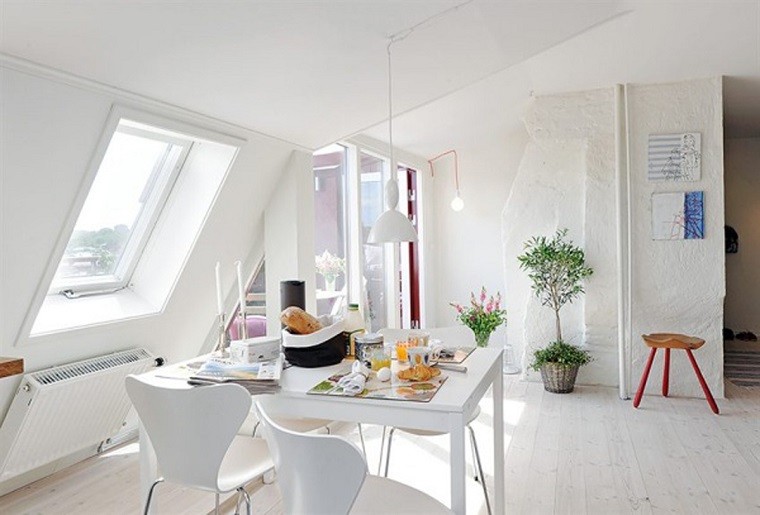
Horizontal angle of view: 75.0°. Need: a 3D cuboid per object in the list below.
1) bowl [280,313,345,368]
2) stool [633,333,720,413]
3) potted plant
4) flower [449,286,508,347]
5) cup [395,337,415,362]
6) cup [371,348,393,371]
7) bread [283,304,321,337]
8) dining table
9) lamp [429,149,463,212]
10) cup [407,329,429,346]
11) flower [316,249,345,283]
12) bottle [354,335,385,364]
[{"bbox_3d":[-0.391,0.504,2.958,0.283,0.225,0.371,1,14,19],"label":"bowl"},{"bbox_3d":[2.652,1.056,4.719,0.712,0.778,0.662,-4,1,-2],"label":"stool"},{"bbox_3d":[1.761,0.519,5.040,0.768,1.596,0.564,4,11,23],"label":"potted plant"},{"bbox_3d":[1.126,0.733,5.513,0.576,0.521,0.548,-2,3,40],"label":"flower"},{"bbox_3d":[0.133,0.544,2.937,0.117,0.124,0.112,1,2,0],"label":"cup"},{"bbox_3d":[0.011,0.563,2.770,0.105,0.108,0.111,0,-6,0],"label":"cup"},{"bbox_3d":[-0.465,0.366,2.860,0.205,0.137,0.082,26,-49,-17],"label":"bread"},{"bbox_3d":[-0.328,0.911,2.643,1.142,0.744,0.746,0,3,19],"label":"dining table"},{"bbox_3d":[0.889,-1.039,6.759,0.507,0.841,0.272,2,11,13],"label":"lamp"},{"bbox_3d":[0.227,0.484,2.994,0.081,0.070,0.094,5,7,42],"label":"cup"},{"bbox_3d":[-0.492,0.071,4.864,0.280,0.285,0.277,-3,-2,32],"label":"flower"},{"bbox_3d":[-0.065,0.503,2.727,0.142,0.140,0.142,0,-2,-1],"label":"bottle"}]
